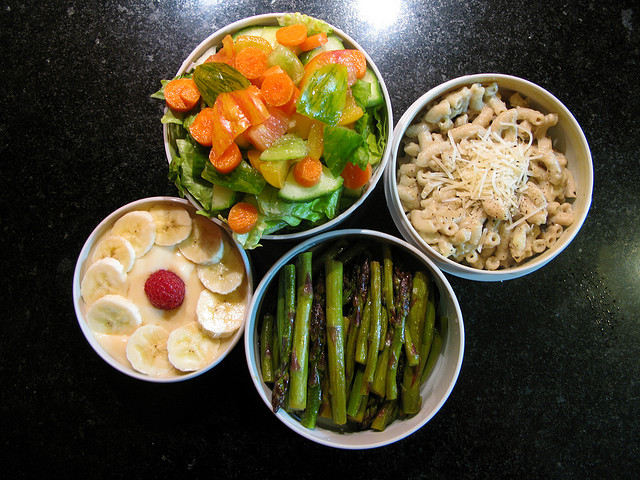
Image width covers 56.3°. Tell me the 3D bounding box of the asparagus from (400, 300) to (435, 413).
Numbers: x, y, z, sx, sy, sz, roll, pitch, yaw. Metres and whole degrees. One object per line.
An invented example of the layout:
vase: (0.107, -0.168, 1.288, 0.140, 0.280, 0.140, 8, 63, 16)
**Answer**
asparagus: (0.499, 0.573, 3.086, 0.126, 0.100, 0.628, 8, 80, 8)

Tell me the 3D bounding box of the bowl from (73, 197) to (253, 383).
bowl: (-0.900, 0.310, 3.203, 0.889, 0.960, 0.717, -21, 35, -23)

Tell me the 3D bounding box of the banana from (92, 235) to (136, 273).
banana: (-1.045, 0.064, 3.016, 0.178, 0.047, 0.187, 40, 95, 8)

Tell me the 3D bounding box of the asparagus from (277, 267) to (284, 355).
asparagus: (-0.214, 0.360, 3.072, 0.035, 0.049, 0.402, -1, 84, 4)

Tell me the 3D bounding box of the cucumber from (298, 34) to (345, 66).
cucumber: (-0.001, -0.907, 2.866, 0.157, 0.168, 0.042, -16, 40, -27)

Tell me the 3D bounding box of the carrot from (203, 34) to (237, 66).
carrot: (-0.469, -0.876, 2.797, 0.154, 0.055, 0.158, -8, 75, 40)

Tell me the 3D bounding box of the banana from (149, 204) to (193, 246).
banana: (-0.771, -0.072, 3.039, 0.174, 0.039, 0.207, 17, 89, 1)

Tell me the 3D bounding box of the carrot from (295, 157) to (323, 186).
carrot: (-0.059, -0.313, 2.775, 0.121, 0.065, 0.124, -3, 84, 1)

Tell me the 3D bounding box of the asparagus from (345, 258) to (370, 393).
asparagus: (0.191, 0.431, 3.053, 0.079, 0.083, 0.724, 2, 80, 11)

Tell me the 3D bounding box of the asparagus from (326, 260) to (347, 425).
asparagus: (0.060, 0.519, 3.068, 0.111, 0.111, 0.772, -3, 87, -4)

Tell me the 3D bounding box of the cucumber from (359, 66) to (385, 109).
cucumber: (0.248, -0.723, 2.876, 0.032, 0.139, 0.160, 3, 99, 41)

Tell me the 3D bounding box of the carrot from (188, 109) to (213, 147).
carrot: (-0.548, -0.512, 2.756, 0.117, 0.051, 0.144, 38, 99, 7)

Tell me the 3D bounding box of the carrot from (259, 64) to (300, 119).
carrot: (-0.168, -0.665, 2.763, 0.131, 0.212, 0.201, -24, 41, -32)

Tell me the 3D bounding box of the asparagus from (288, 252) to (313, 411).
asparagus: (-0.097, 0.473, 3.061, 0.101, 0.209, 0.803, 2, 84, 2)

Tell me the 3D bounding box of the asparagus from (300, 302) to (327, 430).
asparagus: (-0.036, 0.628, 3.042, 0.110, 0.102, 0.628, 1, 85, -1)

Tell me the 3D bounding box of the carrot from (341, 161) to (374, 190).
carrot: (0.172, -0.308, 2.892, 0.143, 0.081, 0.111, -4, 83, 1)

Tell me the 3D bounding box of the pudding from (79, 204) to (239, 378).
pudding: (-0.839, 0.250, 3.096, 0.755, 0.322, 0.926, -2, 95, -5)

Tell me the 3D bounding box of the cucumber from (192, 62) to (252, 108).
cucumber: (-0.468, -0.766, 2.796, 0.275, 0.169, 0.275, -23, 32, -19)

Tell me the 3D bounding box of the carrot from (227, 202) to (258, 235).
carrot: (-0.368, -0.104, 2.830, 0.127, 0.060, 0.154, 31, 85, 5)

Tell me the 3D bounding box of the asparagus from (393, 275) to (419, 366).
asparagus: (0.439, 0.403, 3.060, 0.074, 0.063, 0.506, -3, 75, -1)

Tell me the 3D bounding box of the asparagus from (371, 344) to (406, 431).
asparagus: (0.358, 0.765, 3.045, 0.115, 0.386, 0.247, 2, 30, 6)

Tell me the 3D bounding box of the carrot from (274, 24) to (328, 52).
carrot: (-0.087, -0.955, 2.831, 0.191, 0.050, 0.137, -2, 80, -1)

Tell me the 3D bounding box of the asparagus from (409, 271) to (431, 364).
asparagus: (0.520, 0.392, 3.068, 0.096, 0.126, 0.684, 32, 37, -16)

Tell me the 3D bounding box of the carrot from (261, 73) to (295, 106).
carrot: (-0.197, -0.675, 2.701, 0.149, 0.032, 0.141, -27, 84, -2)

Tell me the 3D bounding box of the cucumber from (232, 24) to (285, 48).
cucumber: (-0.297, -1.009, 2.950, 0.189, 0.030, 0.137, 3, 83, 5)

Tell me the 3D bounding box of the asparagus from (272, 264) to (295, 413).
asparagus: (-0.170, 0.449, 3.053, 0.070, 0.078, 0.634, 4, 91, -10)
